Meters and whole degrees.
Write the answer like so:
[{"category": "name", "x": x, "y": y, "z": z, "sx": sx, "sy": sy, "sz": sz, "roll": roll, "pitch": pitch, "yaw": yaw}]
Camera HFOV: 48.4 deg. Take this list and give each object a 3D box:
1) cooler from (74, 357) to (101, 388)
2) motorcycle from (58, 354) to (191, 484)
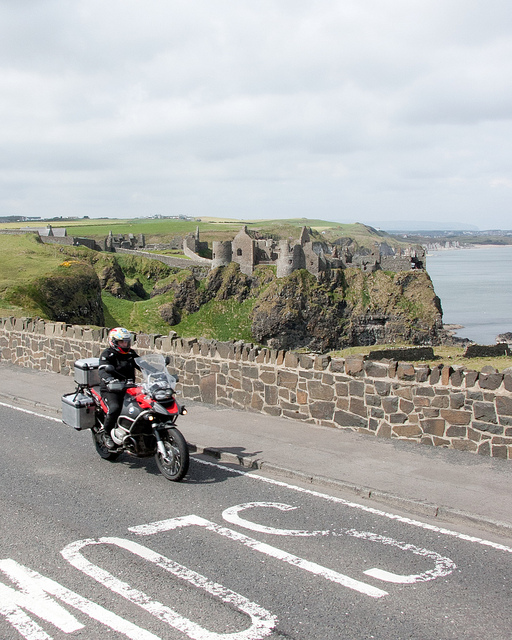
[{"category": "cooler", "x": -2.876, "y": 0.837, "z": 9.797, "sx": 0.536, "sy": 0.492, "sz": 0.534, "roll": -4, "pitch": 8, "yaw": -34}, {"category": "motorcycle", "x": -1.993, "y": 1.395, "z": 8.847, "sx": 1.147, "sy": 1.734, "sz": 2.991, "roll": -3, "pitch": 3, "yaw": -45}]
